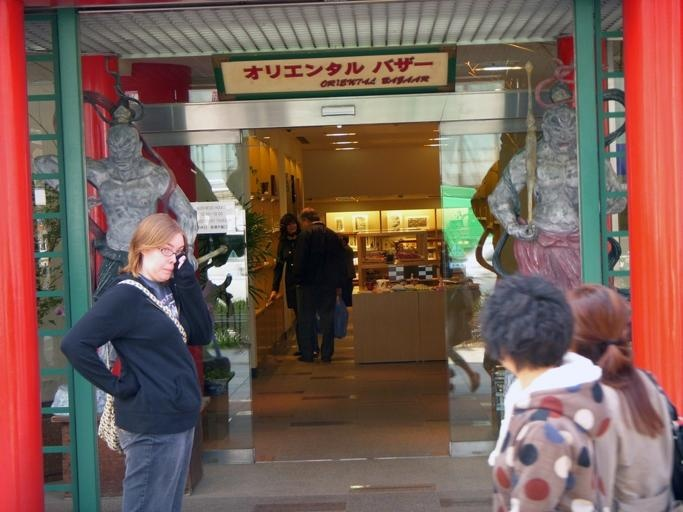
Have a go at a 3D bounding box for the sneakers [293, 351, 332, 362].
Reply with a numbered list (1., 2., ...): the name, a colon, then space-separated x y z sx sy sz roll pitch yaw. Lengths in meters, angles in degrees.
1. sneakers: -0.369 1.339 9.031 0.478 0.192 0.158 4 -11 -1

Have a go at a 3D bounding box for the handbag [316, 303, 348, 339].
1. handbag: -0.132 0.811 8.731 0.250 0.428 0.354 14 -24 -35

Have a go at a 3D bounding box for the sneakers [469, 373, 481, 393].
1. sneakers: 1.056 1.001 5.463 0.076 0.128 0.081 -2 0 31

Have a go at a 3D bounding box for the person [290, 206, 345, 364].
1. person: -0.257 0.475 8.773 0.627 1.806 0.522 -3 3 -6
